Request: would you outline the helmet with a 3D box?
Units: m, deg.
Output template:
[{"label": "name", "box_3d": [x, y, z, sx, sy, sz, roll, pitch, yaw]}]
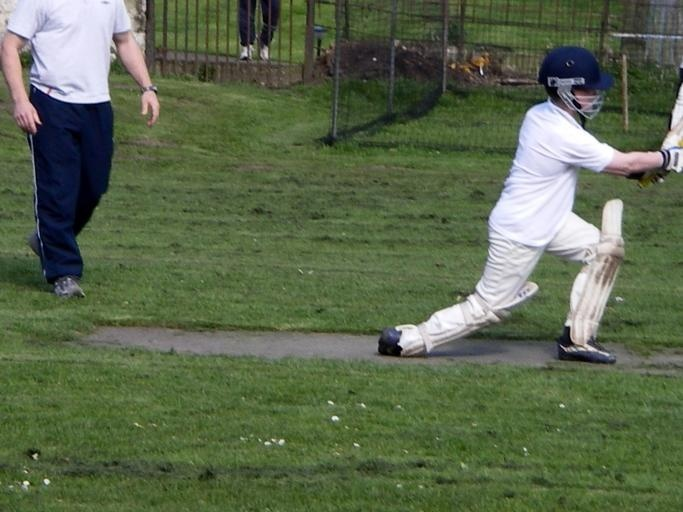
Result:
[{"label": "helmet", "box_3d": [2.121, -1.674, 18.111, 0.568, 0.276, 0.392, -2, 27, 4]}]

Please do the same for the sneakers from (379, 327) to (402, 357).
[{"label": "sneakers", "box_3d": [0.412, 0.801, 18.256, 0.269, 0.256, 0.204, 3, 7, -20]}]
